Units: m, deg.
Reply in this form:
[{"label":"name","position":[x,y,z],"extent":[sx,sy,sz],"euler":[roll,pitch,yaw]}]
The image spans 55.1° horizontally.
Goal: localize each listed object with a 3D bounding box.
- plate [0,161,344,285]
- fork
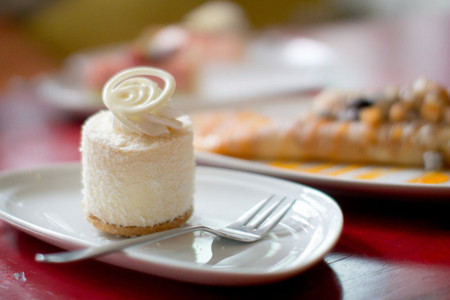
[{"label":"plate","position":[-0.123,0.164,0.876],"extent":[0.512,0.050,0.303],"euler":[4,17,13]},{"label":"fork","position":[-0.112,0.160,0.859],"extent":[0.440,0.055,0.073],"euler":[-8,13,-32]}]
